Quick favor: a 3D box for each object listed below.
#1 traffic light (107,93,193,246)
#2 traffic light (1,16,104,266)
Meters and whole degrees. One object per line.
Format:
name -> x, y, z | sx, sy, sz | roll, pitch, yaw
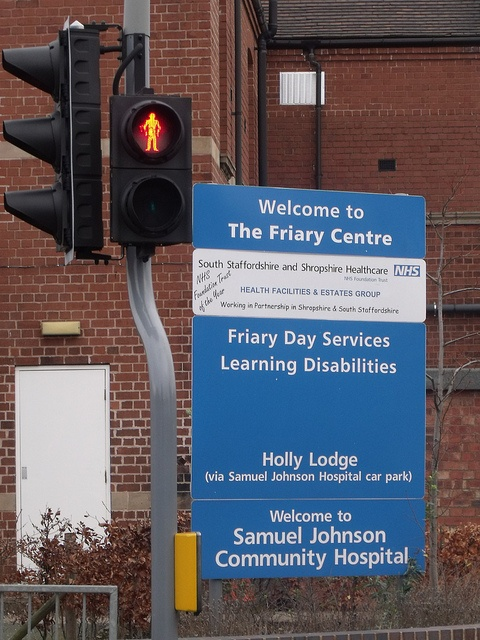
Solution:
traffic light -> -0.609, -1.014, 14.188 | 0.538, 1.358, 0.663 | 2, -27, -8
traffic light -> -1.322, -1.308, 14.257 | 0.754, 1.767, 0.326 | -2, -2, -6
